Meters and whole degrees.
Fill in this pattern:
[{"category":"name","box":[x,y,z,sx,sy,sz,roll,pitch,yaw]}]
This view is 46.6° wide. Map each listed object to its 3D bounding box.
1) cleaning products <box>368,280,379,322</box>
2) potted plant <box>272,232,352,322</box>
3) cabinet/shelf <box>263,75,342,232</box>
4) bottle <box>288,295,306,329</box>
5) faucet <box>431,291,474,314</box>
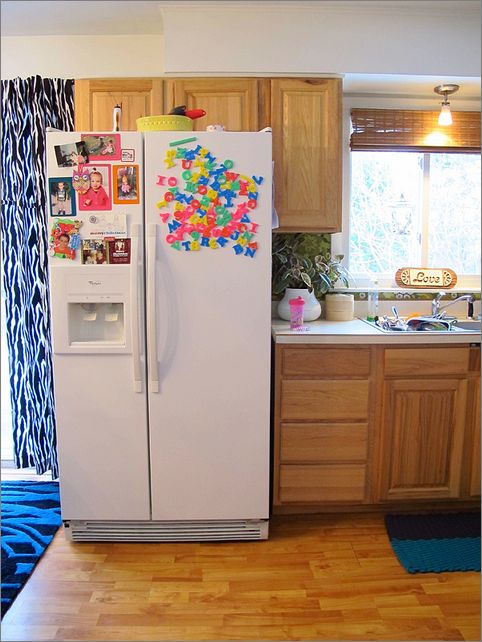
[{"category":"cleaning products","box":[0.728,-0.114,3.051,0.066,0.239,0.061,1,3,2]},{"category":"potted plant","box":[0.360,-0.238,3.069,0.490,0.430,0.471,2,-4,-16]},{"category":"cabinet/shelf","box":[0.224,-0.816,2.864,0.368,0.744,0.404,-6,15,-24]},{"category":"bottle","box":[0.258,-0.035,2.590,0.065,0.137,0.130,1,12,4]},{"category":"faucet","box":[1.126,-0.094,2.967,0.208,0.130,0.372,5,12,22]}]
